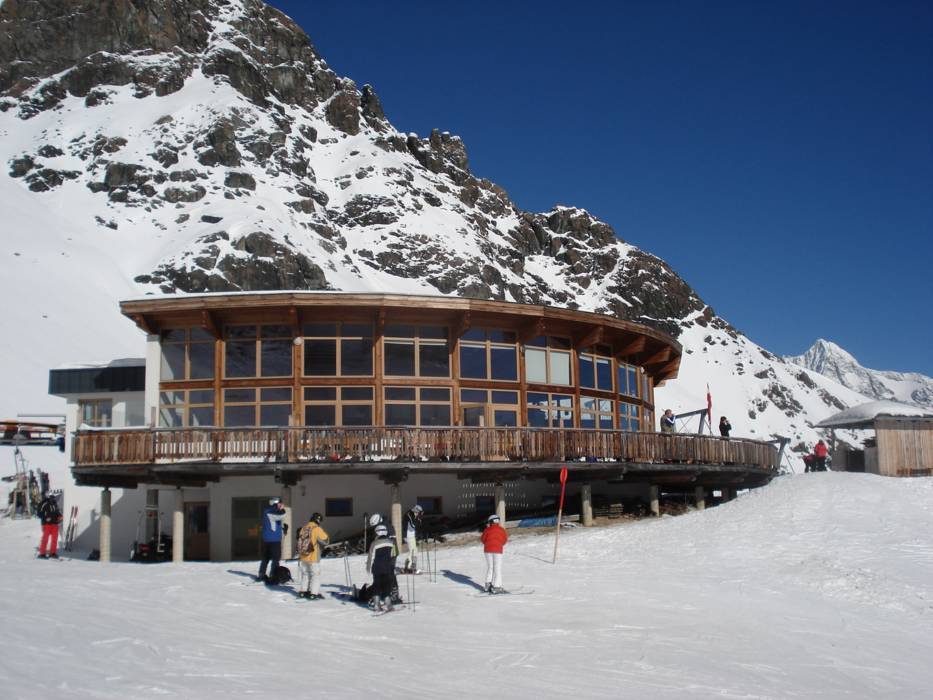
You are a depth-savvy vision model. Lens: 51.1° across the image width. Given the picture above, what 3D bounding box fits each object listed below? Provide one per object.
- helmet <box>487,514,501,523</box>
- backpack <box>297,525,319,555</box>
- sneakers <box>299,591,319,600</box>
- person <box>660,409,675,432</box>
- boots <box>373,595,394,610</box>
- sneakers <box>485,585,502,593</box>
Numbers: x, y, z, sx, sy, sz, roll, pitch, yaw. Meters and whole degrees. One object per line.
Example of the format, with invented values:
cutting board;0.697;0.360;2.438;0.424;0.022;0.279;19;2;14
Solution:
helmet;0.643;4.062;23.495;0.240;0.169;0.306;4;-9;-24
backpack;-3.726;4.459;23.002;0.545;0.732;0.224;-3;-3;38
sneakers;-3.727;5.865;23.338;0.549;0.241;0.175;2;-3;-11
person;7.789;2.739;37.928;0.466;0.811;1.585;-2;-2;9
boots;-1.844;5.704;21.922;0.345;0.289;0.368;1;-8;-7
sneakers;0.680;5.761;23.537;0.417;0.184;0.214;-2;-2;0
